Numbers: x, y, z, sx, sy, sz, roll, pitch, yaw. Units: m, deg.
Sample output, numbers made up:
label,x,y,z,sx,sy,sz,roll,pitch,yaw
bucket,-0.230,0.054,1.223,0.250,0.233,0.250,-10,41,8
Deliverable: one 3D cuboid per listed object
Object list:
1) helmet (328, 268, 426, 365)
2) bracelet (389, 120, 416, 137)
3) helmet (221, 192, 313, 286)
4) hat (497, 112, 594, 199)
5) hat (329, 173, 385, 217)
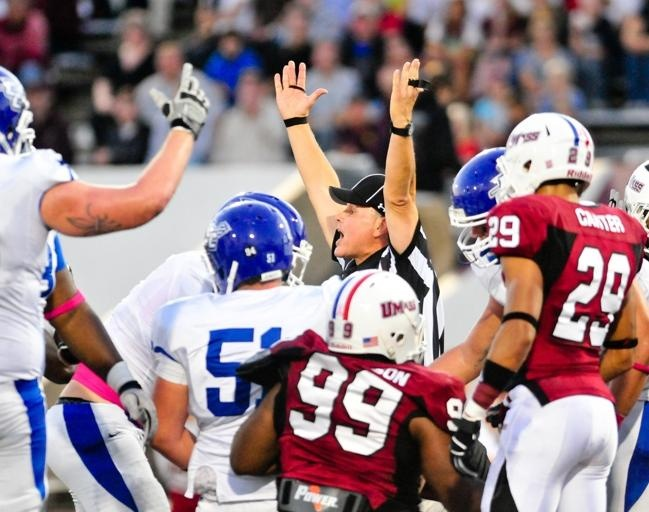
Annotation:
label,x,y,z,sx,sy,sz,roll,pitch,yaw
helmet,0.301,0.344,7.607,0.628,0.555,0.449,1,1,-43
bracelet,0.468,-0.772,8.228,0.131,0.092,0.143,4,14,1
helmet,-0.248,-0.100,8.435,0.620,0.630,0.468,1,-2,-28
hat,1.286,-0.559,8.003,0.588,0.587,0.445,0,-3,43
hat,0.231,-0.420,8.580,0.406,0.216,0.266,24,-4,-22
